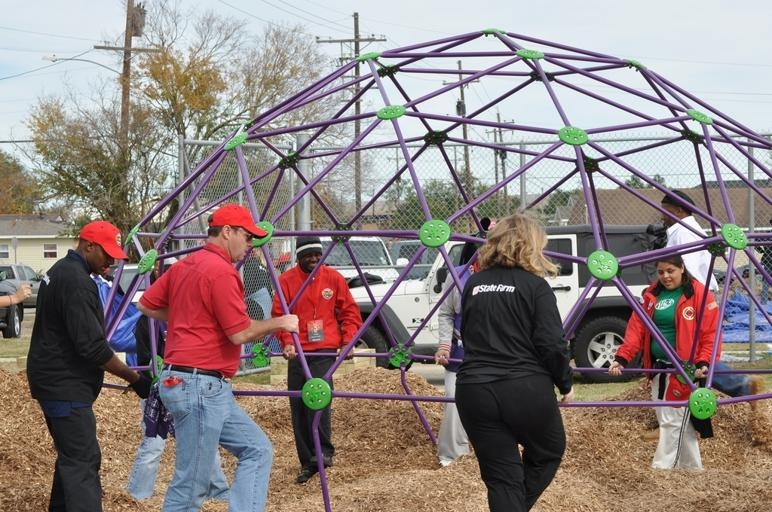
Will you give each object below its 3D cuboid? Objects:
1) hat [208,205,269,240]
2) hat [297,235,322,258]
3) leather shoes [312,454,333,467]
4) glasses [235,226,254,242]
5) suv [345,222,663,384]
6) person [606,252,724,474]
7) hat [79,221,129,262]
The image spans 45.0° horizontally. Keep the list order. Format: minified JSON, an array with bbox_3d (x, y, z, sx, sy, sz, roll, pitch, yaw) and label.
[{"bbox_3d":[-1.188,-0.283,7.511,0.383,0.218,0.249,3,3,-12],"label":"hat"},{"bbox_3d":[-0.735,-0.102,8.904,0.195,0.172,0.190,-15,-17,41],"label":"hat"},{"bbox_3d":[-0.575,1.969,8.939,0.134,0.076,0.185,-2,-11,23],"label":"leather shoes"},{"bbox_3d":[-1.124,-0.172,7.481,0.035,0.122,0.088,-22,-6,14],"label":"glasses"},{"bbox_3d":[1.572,0.380,11.752,3.378,1.766,2.070,2,-2,3],"label":"suv"},{"bbox_3d":[2.619,0.995,8.609,0.879,2.002,0.655,0,1,20],"label":"person"},{"bbox_3d":[-2.332,-0.161,7.782,0.402,0.219,0.257,27,-1,-12],"label":"hat"}]
